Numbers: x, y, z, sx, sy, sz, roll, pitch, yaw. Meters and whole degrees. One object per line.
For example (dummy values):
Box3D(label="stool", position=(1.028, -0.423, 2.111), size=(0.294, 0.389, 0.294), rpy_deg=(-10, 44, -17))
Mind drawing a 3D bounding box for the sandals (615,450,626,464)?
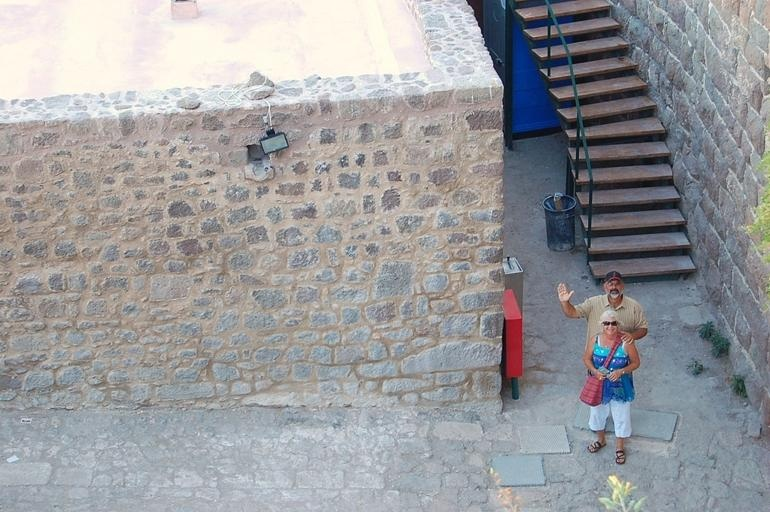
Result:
Box3D(label="sandals", position=(2.180, 1.862, 6.579), size=(0.083, 0.048, 0.153), rpy_deg=(-1, 40, 17))

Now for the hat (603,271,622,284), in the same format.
Box3D(label="hat", position=(2.079, 0.176, 6.473), size=(0.160, 0.195, 0.100), rpy_deg=(0, 74, 5))

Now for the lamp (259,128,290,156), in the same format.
Box3D(label="lamp", position=(-0.926, -0.993, 6.014), size=(0.246, 0.182, 0.080), rpy_deg=(-10, 33, 0))

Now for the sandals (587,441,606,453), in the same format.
Box3D(label="sandals", position=(1.979, 1.794, 6.679), size=(0.203, 0.066, 0.070), rpy_deg=(-10, 60, -5))

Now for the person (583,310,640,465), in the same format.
Box3D(label="person", position=(2.041, 1.172, 6.448), size=(0.452, 1.429, 0.794), rpy_deg=(2, 41, 17))

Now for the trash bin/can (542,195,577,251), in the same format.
Box3D(label="trash bin/can", position=(2.268, -0.432, 9.173), size=(0.502, 0.574, 0.608), rpy_deg=(-1, 29, 16))
